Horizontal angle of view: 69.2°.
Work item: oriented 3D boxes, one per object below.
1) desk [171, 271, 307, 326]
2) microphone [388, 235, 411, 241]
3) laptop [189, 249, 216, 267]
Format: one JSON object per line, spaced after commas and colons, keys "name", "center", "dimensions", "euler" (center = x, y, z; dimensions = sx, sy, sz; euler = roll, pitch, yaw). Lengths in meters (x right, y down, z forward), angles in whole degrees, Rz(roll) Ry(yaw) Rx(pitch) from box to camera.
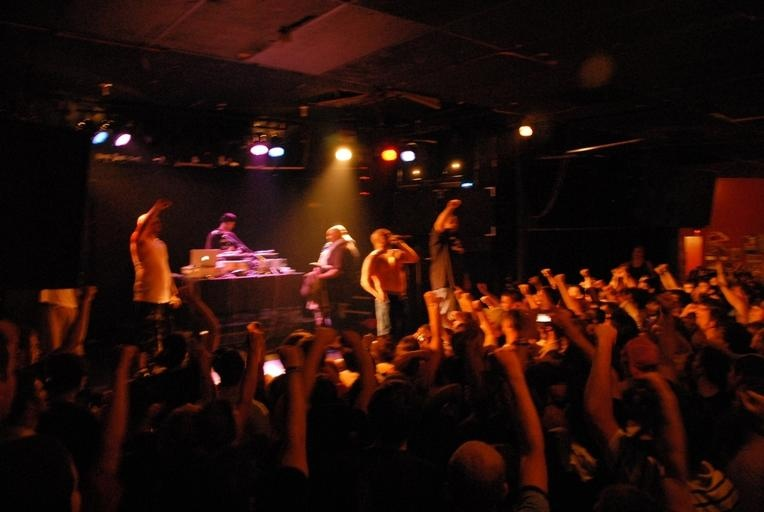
{"name": "desk", "center": [-1.852, 0.632, 7.040], "dimensions": [0.855, 0.721, 1.457], "euler": [-3, -2, 43]}
{"name": "microphone", "center": [0.195, -0.206, 6.192], "dimensions": [0.276, 0.060, 0.049], "euler": [-7, 3, 3]}
{"name": "laptop", "center": [-2.181, 0.028, 6.713], "dimensions": [0.333, 0.198, 0.221], "euler": [1, -3, -37]}
